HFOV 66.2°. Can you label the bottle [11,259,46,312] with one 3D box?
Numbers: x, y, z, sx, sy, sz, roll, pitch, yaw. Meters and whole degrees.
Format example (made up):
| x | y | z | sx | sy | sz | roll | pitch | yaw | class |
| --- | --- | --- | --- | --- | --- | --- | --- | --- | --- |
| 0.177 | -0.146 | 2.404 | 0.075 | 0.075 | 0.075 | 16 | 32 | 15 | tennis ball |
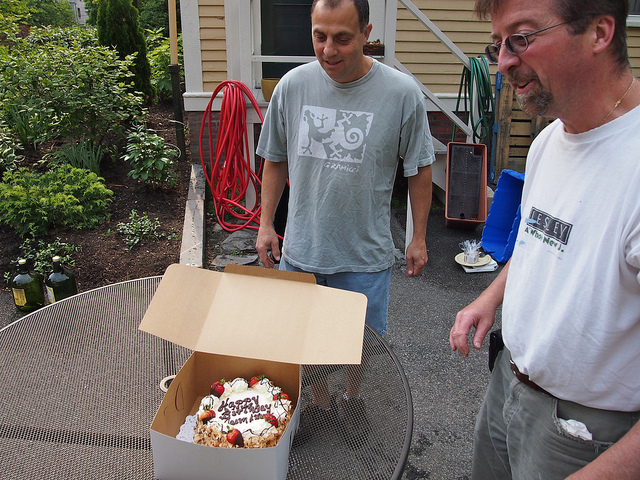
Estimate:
| x | y | z | sx | sy | sz | roll | pitch | yaw | class |
| --- | --- | --- | --- | --- | --- | --- | --- | --- | --- |
| -2.133 | 0.324 | 3.548 | 0.159 | 0.358 | 0.177 | 3 | 18 | 2 | bottle |
